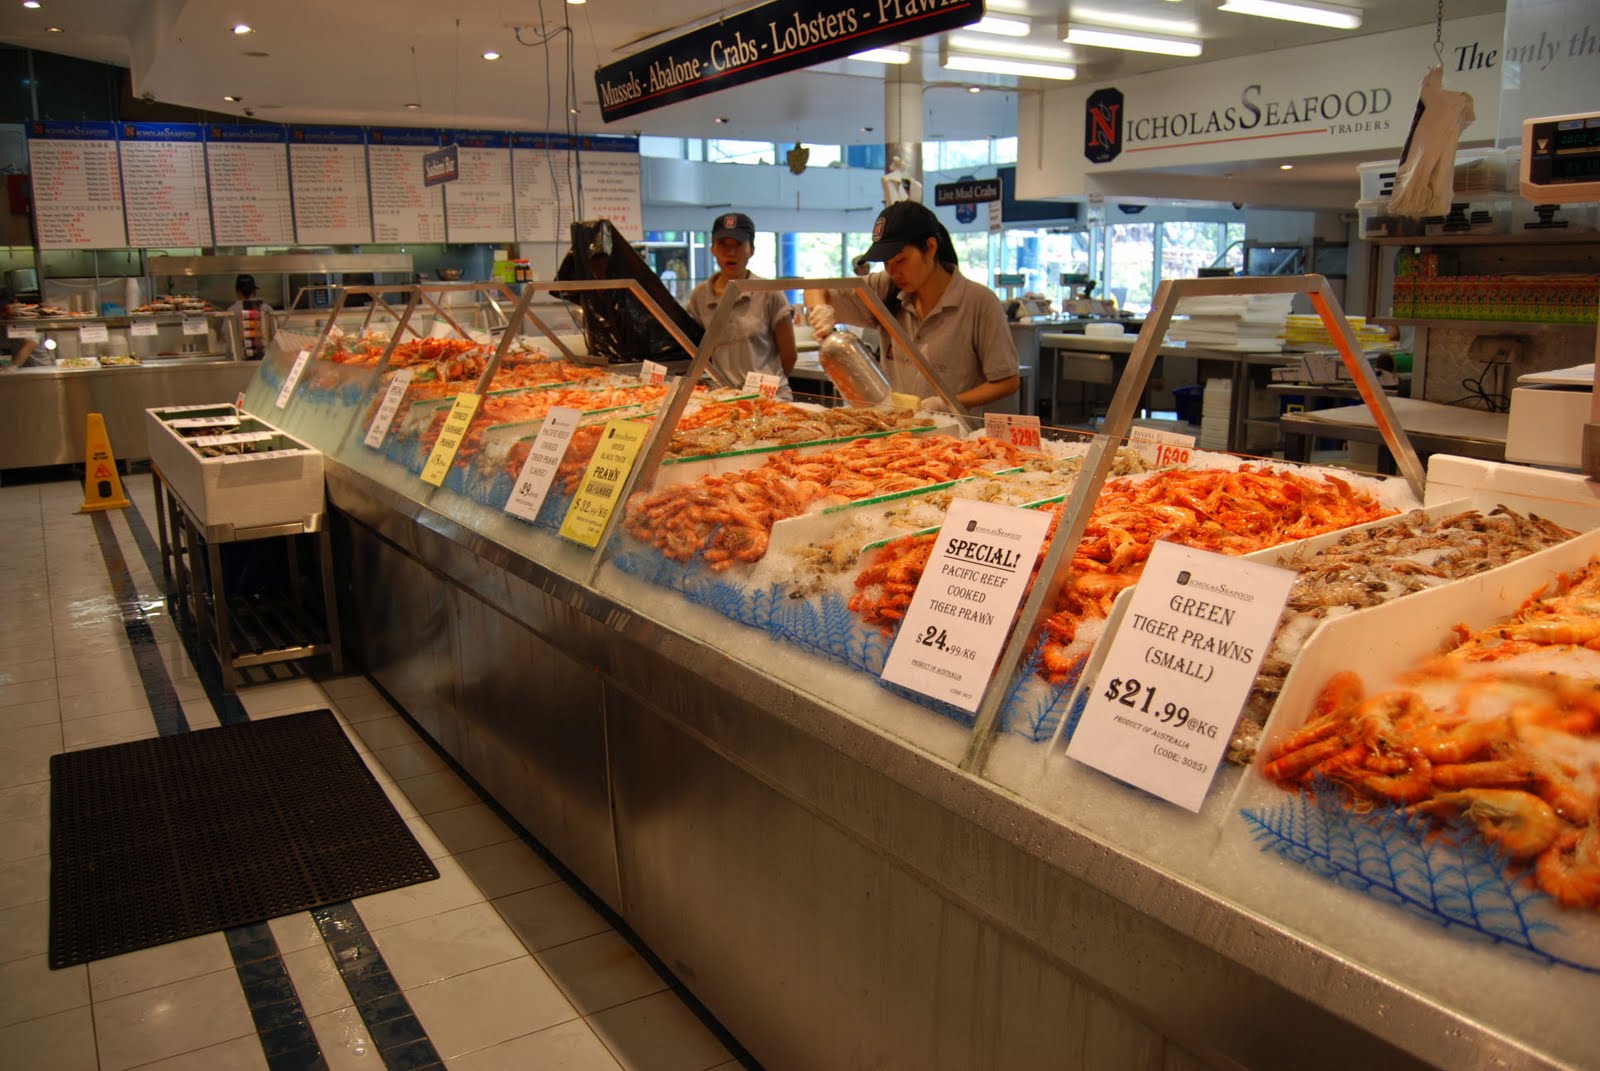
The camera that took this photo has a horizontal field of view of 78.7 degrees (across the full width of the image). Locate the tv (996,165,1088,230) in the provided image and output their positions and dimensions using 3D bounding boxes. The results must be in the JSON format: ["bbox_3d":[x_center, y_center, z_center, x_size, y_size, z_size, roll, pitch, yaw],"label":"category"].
[{"bbox_3d":[3.672,-5.324,15.296,0.968,0.852,2.422,11,22,31],"label":"tv"}]

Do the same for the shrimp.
[{"bbox_3d":[0.197,-0.034,2.327,2.724,0.376,0.906,17,25,42],"label":"shrimp"}]

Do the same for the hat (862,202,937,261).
[{"bbox_3d":[0.346,-1.110,3.639,0.289,0.168,0.200,-35,36,-20],"label":"hat"}]
